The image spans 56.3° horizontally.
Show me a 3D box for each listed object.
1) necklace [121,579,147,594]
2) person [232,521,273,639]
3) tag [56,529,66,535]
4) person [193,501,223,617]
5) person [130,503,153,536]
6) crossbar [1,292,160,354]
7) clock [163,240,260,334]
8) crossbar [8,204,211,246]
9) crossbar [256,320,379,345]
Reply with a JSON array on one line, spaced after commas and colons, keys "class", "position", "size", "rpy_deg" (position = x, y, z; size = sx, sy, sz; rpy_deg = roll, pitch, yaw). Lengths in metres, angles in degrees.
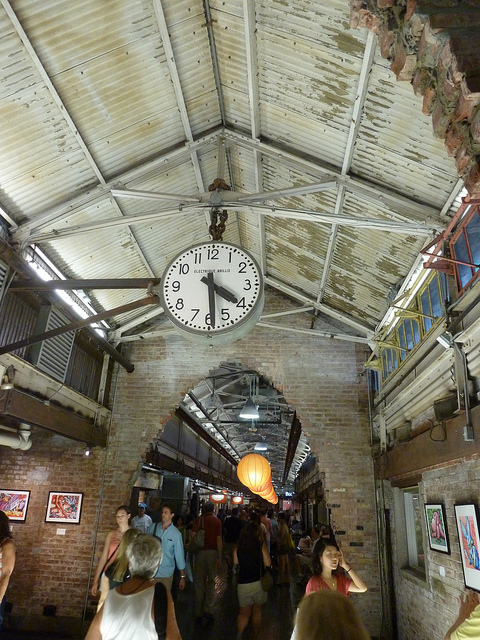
[{"class": "necklace", "position": [-0.465, 1.125, 1.877], "size": [0.100, 0.036, 0.052], "rpy_deg": [-7, -27, 24]}, {"class": "person", "position": [0.116, 2.901, 5.006], "size": [0.381, 1.166, 0.543], "rpy_deg": [5, -25, -2]}, {"class": "tag", "position": [-2.950, 3.506, 7.408], "size": [0.098, 0.089, 0.023], "rpy_deg": [3, -14, -2]}, {"class": "person", "position": [-0.490, 3.411, 6.371], "size": [0.405, 1.516, 0.921], "rpy_deg": [4, -25, 1]}, {"class": "person", "position": [-1.590, 3.210, 7.267], "size": [0.310, 0.358, 1.161], "rpy_deg": [9, -25, -10]}, {"class": "crossbar", "position": [-2.293, 0.024, 6.373], "size": [2.209, 0.253, 0.314], "rpy_deg": [-21, -60, 5]}, {"class": "clock", "position": [-0.222, -0.250, 3.444], "size": [0.754, 0.802, 0.130], "rpy_deg": [-2, -26, 15]}, {"class": "crossbar", "position": [-1.327, -1.018, 4.676], "size": [2.081, 0.200, 0.119], "rpy_deg": [-3, -26, 16]}, {"class": "crossbar", "position": [1.403, 0.239, 8.083], "size": [1.688, 0.184, 0.168], "rpy_deg": [13, -55, 31]}]
